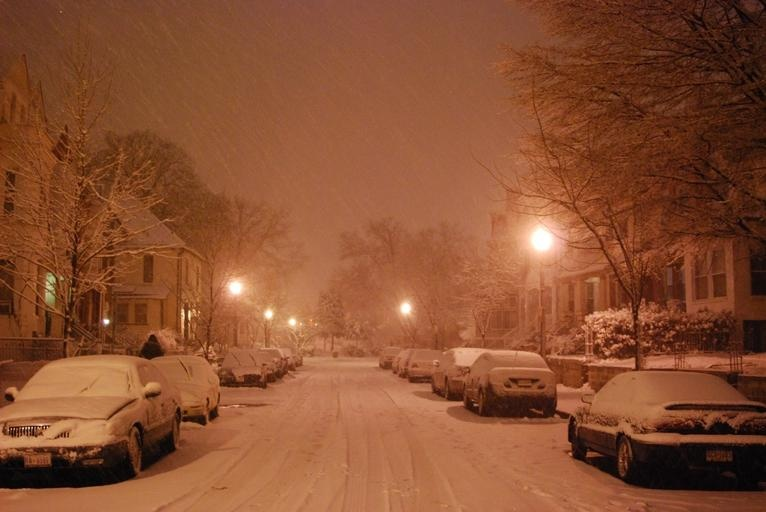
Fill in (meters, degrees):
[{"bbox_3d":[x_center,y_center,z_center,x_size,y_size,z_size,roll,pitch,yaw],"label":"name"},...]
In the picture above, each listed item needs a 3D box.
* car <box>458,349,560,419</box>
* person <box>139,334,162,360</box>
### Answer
[{"bbox_3d":[3.963,3.903,21.513,2.180,2.136,2.269,1,-13,-8],"label":"car"},{"bbox_3d":[-12.525,4.951,37.811,1.231,0.582,2.275,13,16,-13],"label":"person"}]
